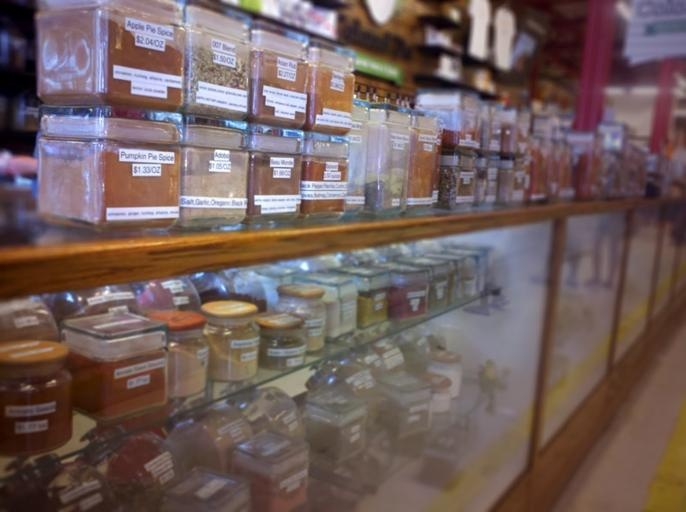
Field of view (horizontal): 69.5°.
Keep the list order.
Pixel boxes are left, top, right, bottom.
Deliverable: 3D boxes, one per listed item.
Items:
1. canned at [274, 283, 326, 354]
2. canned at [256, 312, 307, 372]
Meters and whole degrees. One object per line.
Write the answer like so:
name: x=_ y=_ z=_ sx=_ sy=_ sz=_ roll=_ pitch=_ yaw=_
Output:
canned: x=-0.101 y=0.151 z=1.349 sx=0.163 sy=0.182 sz=0.163 roll=-4 pitch=10 yaw=-33
canned: x=-0.149 y=0.214 z=1.253 sx=0.131 sy=0.108 sz=0.129 roll=1 pitch=6 yaw=-7
